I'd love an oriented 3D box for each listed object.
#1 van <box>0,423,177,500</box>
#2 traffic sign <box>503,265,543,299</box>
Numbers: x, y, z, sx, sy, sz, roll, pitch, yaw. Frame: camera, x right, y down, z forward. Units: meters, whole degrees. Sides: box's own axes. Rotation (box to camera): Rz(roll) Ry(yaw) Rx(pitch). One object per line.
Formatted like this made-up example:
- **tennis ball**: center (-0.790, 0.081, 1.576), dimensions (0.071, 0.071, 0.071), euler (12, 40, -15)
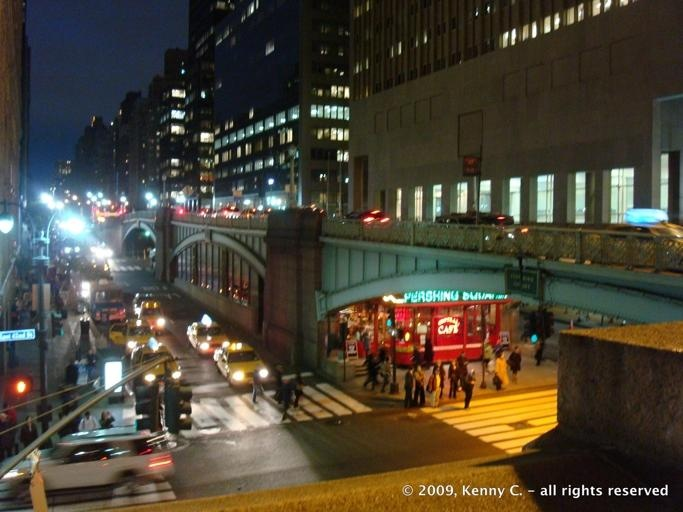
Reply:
- **van**: center (-6.949, 5.721, 18.716), dimensions (5.113, 2.226, 2.624), euler (4, -3, -17)
- **traffic sign**: center (6.195, 0.807, 22.674), dimensions (1.278, 1.056, 0.694), euler (10, 24, 38)
